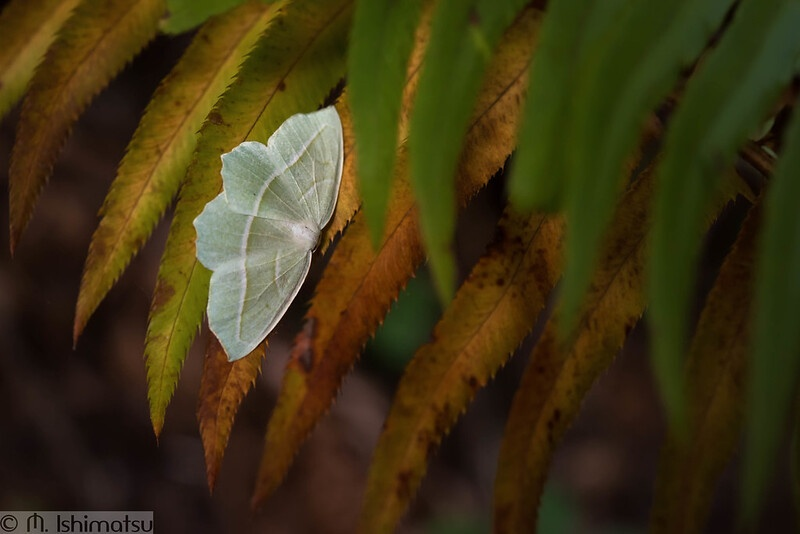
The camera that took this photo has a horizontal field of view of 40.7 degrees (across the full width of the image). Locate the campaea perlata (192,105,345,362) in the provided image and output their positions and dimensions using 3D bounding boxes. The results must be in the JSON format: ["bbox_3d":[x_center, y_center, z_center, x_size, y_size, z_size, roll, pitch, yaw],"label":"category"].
[{"bbox_3d":[-0.302,-0.105,2.392,0.218,0.473,0.365,32,41,24],"label":"campaea perlata"}]
